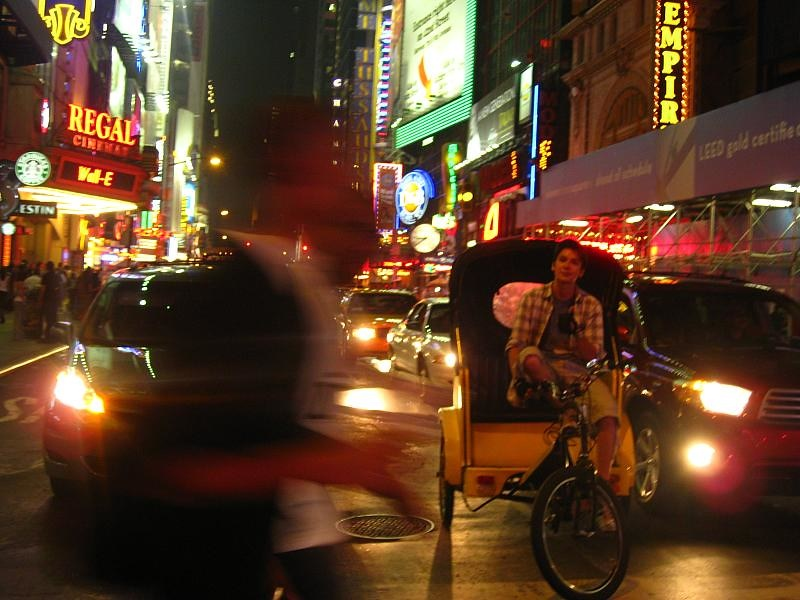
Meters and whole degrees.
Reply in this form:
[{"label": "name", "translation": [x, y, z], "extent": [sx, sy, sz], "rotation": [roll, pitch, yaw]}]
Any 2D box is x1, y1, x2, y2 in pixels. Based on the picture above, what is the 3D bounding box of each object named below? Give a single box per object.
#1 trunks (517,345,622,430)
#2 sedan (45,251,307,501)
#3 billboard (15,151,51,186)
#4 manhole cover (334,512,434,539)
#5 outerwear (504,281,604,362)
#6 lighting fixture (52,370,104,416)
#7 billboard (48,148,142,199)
[{"label": "trunks", "translation": [1.299, 0.551, 6.155], "extent": [0.614, 0.318, 0.845], "rotation": [-22, 36, -34]}, {"label": "sedan", "translation": [-2.322, 0.736, 8.311], "extent": [2.384, 2.261, 2.683], "rotation": [2, 2, 5]}, {"label": "billboard", "translation": [-15.042, -5.371, 31.748], "extent": [1.505, 1.475, 0.357], "rotation": [-3, 3, 2]}, {"label": "manhole cover", "translation": [-0.116, 2.049, 6.984], "extent": [0.877, 0.043, 0.743], "rotation": [1, 2, -12]}, {"label": "outerwear", "translation": [1.271, 0.145, 6.517], "extent": [0.917, 0.751, 0.525], "rotation": [1, 0, 4]}, {"label": "lighting fixture", "translation": [-3.069, 0.854, 7.361], "extent": [0.320, 0.350, 0.836], "rotation": [0, 3, -34]}, {"label": "billboard", "translation": [-14.597, -5.900, 37.974], "extent": [7.328, 1.740, 0.842], "rotation": [14, 6, 33]}]
